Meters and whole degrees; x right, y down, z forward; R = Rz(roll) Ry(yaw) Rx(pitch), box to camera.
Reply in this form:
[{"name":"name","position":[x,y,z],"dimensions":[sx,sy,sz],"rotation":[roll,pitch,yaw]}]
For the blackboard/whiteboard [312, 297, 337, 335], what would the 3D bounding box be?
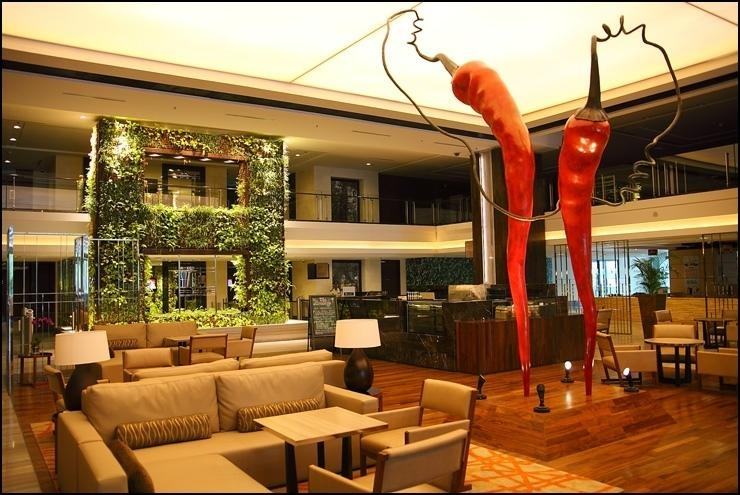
[{"name":"blackboard/whiteboard","position":[-1.179,1.752,13.012],"dimensions":[0.952,1.129,0.115],"rotation":[4,-12,-29]}]
